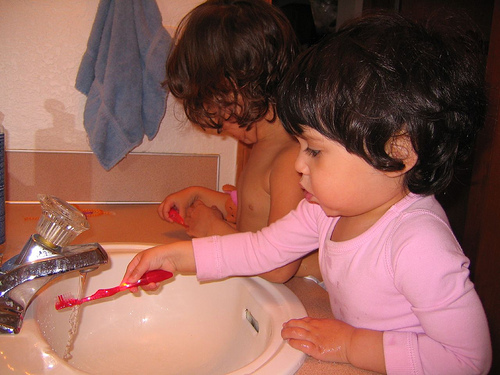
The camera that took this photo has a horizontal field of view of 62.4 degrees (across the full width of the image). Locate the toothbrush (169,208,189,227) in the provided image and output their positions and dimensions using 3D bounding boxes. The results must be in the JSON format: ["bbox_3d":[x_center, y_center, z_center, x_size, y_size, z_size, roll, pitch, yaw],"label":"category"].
[{"bbox_3d":[-0.228,0.093,1.295,0.082,0.028,0.019,43,30,4],"label":"toothbrush"}]

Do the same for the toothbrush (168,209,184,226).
[{"bbox_3d":[-0.232,0.091,1.297,0.073,0.023,0.018,33,12,38],"label":"toothbrush"}]
